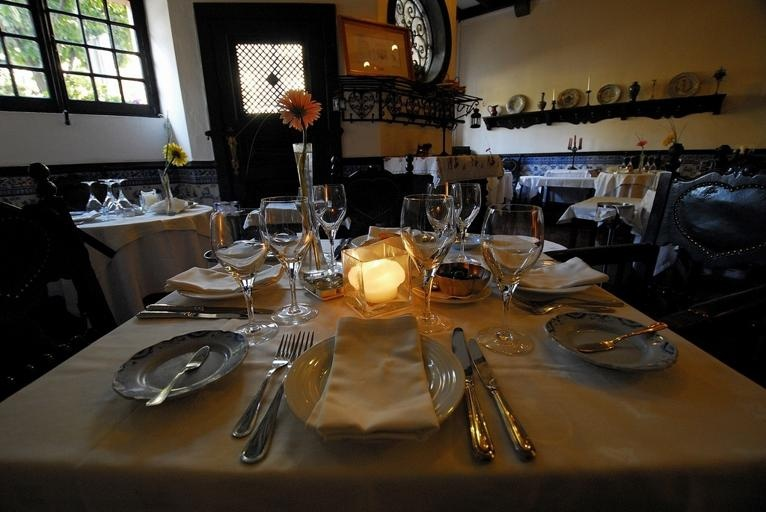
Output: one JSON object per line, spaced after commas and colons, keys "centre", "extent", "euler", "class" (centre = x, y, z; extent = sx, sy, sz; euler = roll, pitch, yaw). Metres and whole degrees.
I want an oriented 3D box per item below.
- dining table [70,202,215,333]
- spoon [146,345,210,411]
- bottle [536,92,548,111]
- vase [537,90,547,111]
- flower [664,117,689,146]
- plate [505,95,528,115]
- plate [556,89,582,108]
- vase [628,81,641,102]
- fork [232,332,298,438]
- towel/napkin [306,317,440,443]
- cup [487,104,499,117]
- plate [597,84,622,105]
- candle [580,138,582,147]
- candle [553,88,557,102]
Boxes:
{"centre": [-1.227, 0.010, 2.507], "extent": [0.599, 0.399, 0.654], "euler": [-1, 8, 2], "class": "dining table"}
{"centre": [-0.493, 0.287, 1.190], "extent": [0.049, 0.042, 0.277], "euler": [-3, 24, 13], "class": "spoon"}
{"centre": [2.451, -2.400, 7.192], "extent": [0.150, 0.277, 0.137], "euler": [0, 18, 0], "class": "bottle"}
{"centre": [2.453, -2.394, 7.192], "extent": [0.144, 0.288, 0.137], "euler": [11, 21, 32], "class": "vase"}
{"centre": [3.606, -1.539, 5.740], "extent": [0.241, 0.311, 0.763], "euler": [10, 20, 29], "class": "flower"}
{"centre": [2.156, -2.467, 7.565], "extent": [0.274, 0.292, 0.066], "euler": [21, 20, 40], "class": "plate"}
{"centre": [2.761, -2.368, 6.931], "extent": [0.094, 0.265, 0.394], "euler": [-12, 21, -32], "class": "plate"}
{"centre": [3.376, -2.216, 6.245], "extent": [0.135, 0.261, 0.153], "euler": [7, 19, 21], "class": "vase"}
{"centre": [-0.291, 0.285, 1.242], "extent": [0.054, 0.048, 0.403], "euler": [-1, 37, 13], "class": "fork"}
{"centre": [-0.014, 0.286, 1.142], "extent": [0.208, 0.055, 0.271], "euler": [1, 38, 2], "class": "towel/napkin"}
{"centre": [1.861, -2.484, 7.882], "extent": [0.101, 0.188, 0.188], "euler": [-29, 38, -31], "class": "cup"}
{"centre": [3.165, -2.279, 6.513], "extent": [0.085, 0.251, 0.329], "euler": [-14, 22, -35], "class": "plate"}
{"centre": [2.918, -1.680, 6.864], "extent": [0.047, 0.138, 0.087], "euler": [7, 19, 22], "class": "candle"}
{"centre": [2.605, -2.457, 7.090], "extent": [0.036, 0.186, 0.100], "euler": [-5, 19, -14], "class": "candle"}
